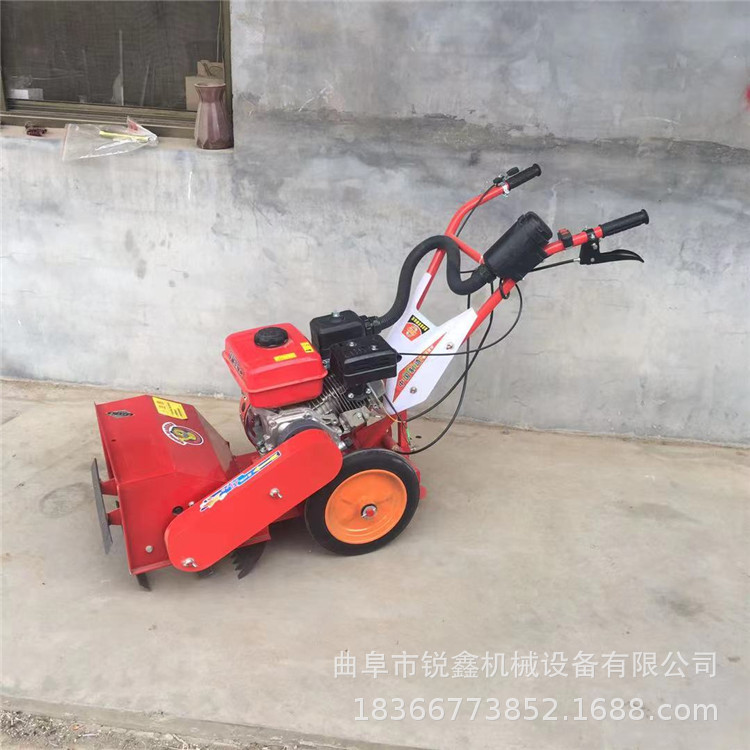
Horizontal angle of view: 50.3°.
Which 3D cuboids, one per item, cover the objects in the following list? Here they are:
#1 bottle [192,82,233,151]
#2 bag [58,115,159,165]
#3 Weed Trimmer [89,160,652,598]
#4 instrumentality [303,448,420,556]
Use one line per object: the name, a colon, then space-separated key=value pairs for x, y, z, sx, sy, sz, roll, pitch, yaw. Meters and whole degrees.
bottle: x=-0.703 y=-1.114 z=3.464 sx=0.166 sy=0.273 sz=0.121 roll=-8 pitch=26 yaw=-9
bag: x=-1.179 y=-1.028 z=3.539 sx=0.387 sy=0.092 sz=0.187 roll=-5 pitch=47 yaw=6
Weed Trimmer: x=0.155 y=-0.247 z=3.070 sx=2.665 sy=1.278 sz=0.974 roll=-15 pitch=41 yaw=-14
instrumentality: x=-0.052 y=0.437 z=2.745 sx=0.456 sy=0.356 sz=0.132 roll=-1 pitch=11 yaw=-35
